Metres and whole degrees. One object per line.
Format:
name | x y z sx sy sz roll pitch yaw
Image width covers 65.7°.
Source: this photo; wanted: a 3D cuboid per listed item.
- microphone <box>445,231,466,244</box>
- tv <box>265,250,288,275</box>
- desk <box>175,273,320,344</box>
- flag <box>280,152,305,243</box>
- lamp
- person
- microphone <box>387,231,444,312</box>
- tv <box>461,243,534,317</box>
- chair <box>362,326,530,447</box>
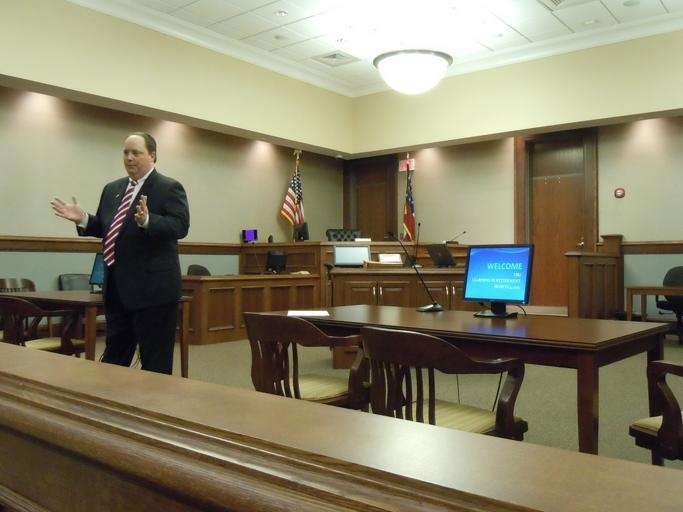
microphone | 2.007 -0.343 9.283 0.336 0.219 0.201 1 -3 0
tv | -0.922 0.095 7.521 0.309 0.375 0.130 2 16 -12
desk | -1.106 0.542 6.742 1.770 0.747 0.551 -3 8 -41
flag | -0.865 -1.113 9.177 0.418 1.689 1.320 1 -3 -5
lamp | 0.987 -2.470 7.351 1.039 0.443 1.059 1 -2 -31
person | -1.087 -0.019 2.708 0.624 1.266 0.436 0 -3 16
microphone | 0.425 0.101 3.053 0.269 0.520 0.120 -9 17 10
tv | 0.838 0.136 2.858 0.389 0.398 0.205 0 0 42
chair | 0.383 0.462 1.950 0.534 0.410 0.525 0 -3 23
